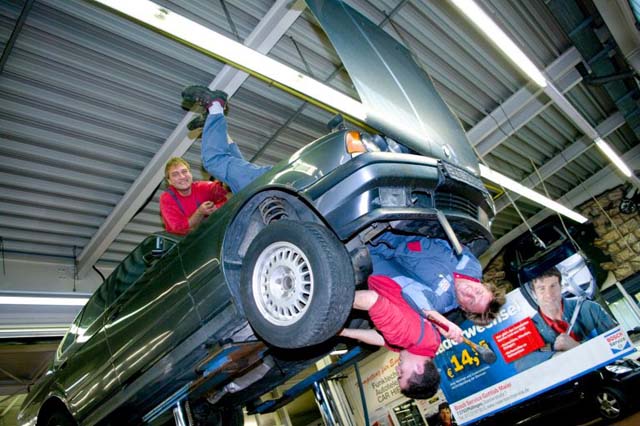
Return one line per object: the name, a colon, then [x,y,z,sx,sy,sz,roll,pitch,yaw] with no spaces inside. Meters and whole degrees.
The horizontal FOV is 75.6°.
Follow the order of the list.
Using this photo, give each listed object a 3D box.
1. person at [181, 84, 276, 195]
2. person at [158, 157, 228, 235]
person: [-1.120,-0.770,4.602,0.606,1.893,0.746,3,-43,-43]
person: [-1.703,-0.177,5.576,0.830,1.259,0.805,-3,-9,10]
